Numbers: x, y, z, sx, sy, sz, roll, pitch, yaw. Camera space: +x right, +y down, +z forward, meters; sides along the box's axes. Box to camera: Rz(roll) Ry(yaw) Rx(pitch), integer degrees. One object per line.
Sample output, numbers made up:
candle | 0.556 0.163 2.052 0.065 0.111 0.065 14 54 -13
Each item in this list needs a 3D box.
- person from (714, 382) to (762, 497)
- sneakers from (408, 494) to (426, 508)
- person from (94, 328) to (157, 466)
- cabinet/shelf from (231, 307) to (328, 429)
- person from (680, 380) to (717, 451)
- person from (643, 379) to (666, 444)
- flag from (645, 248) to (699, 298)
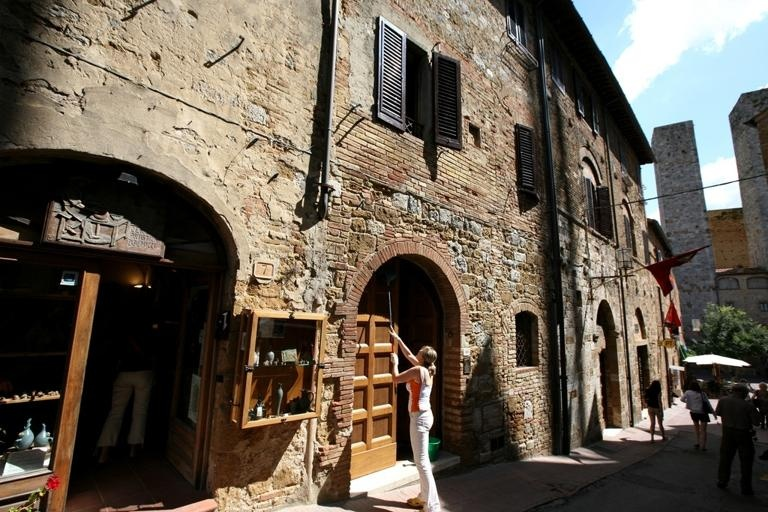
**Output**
person | 6.267 3.230 8.448 0.703 1.834 0.716 -8 -14 33
sneakers | 0.460 3.559 6.867 0.278 0.130 0.132 -6 -14 42
person | -3.884 2.035 7.189 0.665 2.029 0.448 6 -13 -26
cabinet/shelf | -1.475 1.522 6.429 1.533 2.005 0.514 7 -10 -36
person | 7.670 3.810 11.479 0.587 1.565 2.064 -8 -14 32
person | 7.245 4.054 12.613 0.377 1.500 2.435 -6 -14 28
flag | 7.108 0.454 11.646 0.881 1.107 1.294 -9 -15 36
